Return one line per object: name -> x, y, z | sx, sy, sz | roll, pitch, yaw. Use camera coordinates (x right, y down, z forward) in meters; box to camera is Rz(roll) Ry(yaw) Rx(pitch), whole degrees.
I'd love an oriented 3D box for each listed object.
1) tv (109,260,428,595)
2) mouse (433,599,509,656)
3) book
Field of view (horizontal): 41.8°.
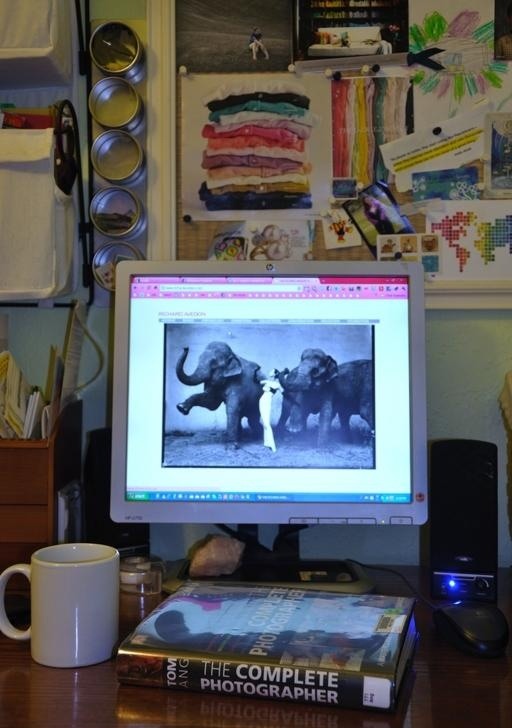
tv -> 0.013, 0.073, 0.900 | 0.446, 0.439, 0.150 | 0, -7, 1
mouse -> 0.244, 0.294, 0.741 | 0.070, 0.036, 0.077 | 0, 4, -12
book -> 0.023, 0.286, 0.716 | 0.283, 0.051, 0.223 | 2, 4, 14
